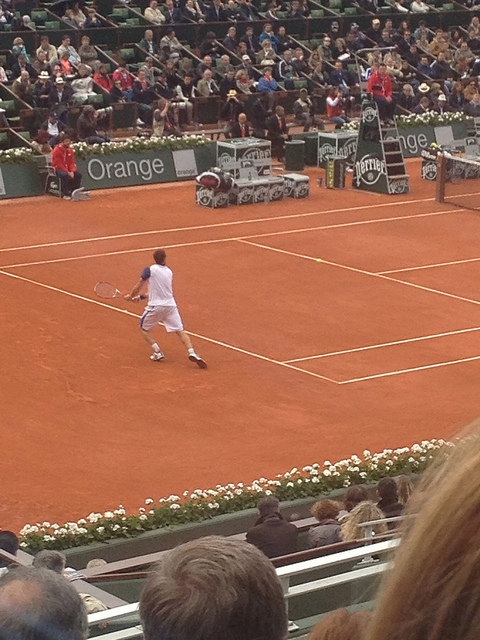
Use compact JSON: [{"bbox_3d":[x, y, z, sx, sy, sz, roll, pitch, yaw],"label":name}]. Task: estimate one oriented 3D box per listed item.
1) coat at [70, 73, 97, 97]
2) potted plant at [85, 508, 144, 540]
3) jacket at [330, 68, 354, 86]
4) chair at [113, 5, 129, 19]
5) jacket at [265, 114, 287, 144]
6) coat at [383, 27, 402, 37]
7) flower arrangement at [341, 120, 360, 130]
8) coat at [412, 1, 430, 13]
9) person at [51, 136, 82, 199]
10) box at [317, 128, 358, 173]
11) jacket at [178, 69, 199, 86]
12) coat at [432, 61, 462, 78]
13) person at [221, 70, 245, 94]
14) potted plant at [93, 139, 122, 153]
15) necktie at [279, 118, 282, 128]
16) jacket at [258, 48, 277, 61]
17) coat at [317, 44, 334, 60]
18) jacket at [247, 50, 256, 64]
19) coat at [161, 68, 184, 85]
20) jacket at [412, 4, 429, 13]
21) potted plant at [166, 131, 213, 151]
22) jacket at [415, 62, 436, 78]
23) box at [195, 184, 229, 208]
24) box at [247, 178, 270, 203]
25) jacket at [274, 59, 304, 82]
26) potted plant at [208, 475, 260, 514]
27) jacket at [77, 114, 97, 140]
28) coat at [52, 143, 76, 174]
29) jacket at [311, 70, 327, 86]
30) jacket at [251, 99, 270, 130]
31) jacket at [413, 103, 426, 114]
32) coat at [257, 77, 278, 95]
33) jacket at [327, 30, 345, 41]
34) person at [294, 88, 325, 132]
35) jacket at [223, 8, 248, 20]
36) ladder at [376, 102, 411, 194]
[{"bbox_3d":[-3.986,-5.924,32.503,0.598,0.288,0.688,-4,35,-7],"label":"coat"},{"bbox_3d":[-0.996,1.629,10.140,0.275,0.158,0.311,9,8,36],"label":"potted plant"},{"bbox_3d":[3.056,-7.237,38.050,0.387,0.508,1.359,-2,6,26],"label":"jacket"},{"bbox_3d":[-3.584,-9.448,38.809,0.494,0.408,0.452,2,42,-7],"label":"chair"},{"bbox_3d":[0.925,-4.896,32.691,0.495,0.737,0.531,-5,6,1],"label":"jacket"},{"bbox_3d":[5.165,-9.700,42.955,0.316,0.145,0.408,-12,43,-44],"label":"coat"},{"bbox_3d":[2.842,-4.958,32.538,0.390,0.258,0.440,0,8,0],"label":"flower arrangement"},{"bbox_3d":[6.550,-11.357,46.355,0.505,0.214,0.616,1,21,-7],"label":"coat"},{"bbox_3d":[-3.673,-3.220,27.167,0.580,1.266,1.258,-6,6,-6],"label":"person"},{"bbox_3d":[2.552,-4.351,31.760,0.962,1.177,0.816,-18,28,-28],"label":"box"},{"bbox_3d":[-1.340,-6.638,34.801,0.497,0.214,0.613,6,14,-37],"label":"jacket"},{"bbox_3d":[6.817,-8.129,41.414,0.539,0.532,1.455,-1,7,35],"label":"coat"},{"bbox_3d":[-0.273,-6.482,34.802,0.548,0.684,0.729,-9,19,-19],"label":"person"},{"bbox_3d":[-2.948,-3.873,28.557,0.570,0.276,0.513,-5,8,-4],"label":"potted plant"},{"bbox_3d":[1.060,-5.038,32.638,0.069,0.198,0.168,-5,6,0],"label":"necktie"},{"bbox_3d":[0.841,-7.934,38.101,0.529,0.227,0.654,2,-3,-2],"label":"jacket"},{"bbox_3d":[2.719,-8.373,39.785,0.621,0.496,0.344,-9,7,-36],"label":"coat"},{"bbox_3d":[0.395,-7.892,38.215,0.136,0.370,0.278,-18,23,21],"label":"jacket"},{"bbox_3d":[-1.800,-6.500,34.128,0.605,0.156,0.190,26,-27,-33],"label":"coat"},{"bbox_3d":[6.618,-11.384,46.464,0.304,0.301,0.943,-1,6,30],"label":"jacket"},{"bbox_3d":[-1.213,-4.244,30.277,0.812,0.352,1.010,-4,11,-9],"label":"potted plant"},{"bbox_3d":[5.984,-8.066,41.013,0.474,0.200,0.587,-7,39,-48],"label":"jacket"},{"bbox_3d":[-0.568,-2.616,26.998,0.586,0.382,0.571,-16,27,-38],"label":"box"},{"bbox_3d":[0.506,-2.840,27.937,0.553,0.479,0.510,-4,14,-22],"label":"box"},{"bbox_3d":[1.351,-7.355,37.485,0.643,0.631,0.746,-2,6,26],"label":"jacket"},{"bbox_3d":[-0.045,1.510,10.825,0.334,0.132,0.309,-9,16,-25],"label":"potted plant"},{"bbox_3d":[-3.574,-4.497,29.730,0.610,0.588,0.489,-5,24,2],"label":"jacket"},{"bbox_3d":[-3.708,-3.452,27.114,0.540,0.639,0.574,-18,30,-39],"label":"coat"},{"bbox_3d":[2.336,-7.177,37.830,0.502,0.325,0.462,5,28,-22],"label":"jacket"},{"bbox_3d":[0.518,-5.301,32.836,0.424,0.766,0.639,-5,6,-1],"label":"jacket"},{"bbox_3d":[5.094,-5.944,36.182,0.217,0.321,0.362,-32,46,-10],"label":"jacket"},{"bbox_3d":[0.829,-6.582,35.642,0.603,0.403,0.404,-9,7,-36],"label":"coat"},{"bbox_3d":[3.171,-9.320,41.964,0.405,0.443,1.840,-4,5,11],"label":"jacket"},{"bbox_3d":[1.853,-5.722,34.778,0.777,1.167,0.853,-6,6,-8],"label":"person"},{"bbox_3d":[-0.126,-9.601,39.996,0.550,0.202,0.178,23,-32,-33],"label":"jacket"},{"bbox_3d":[3.624,-4.031,29.920,0.633,2.098,2.684,-4,6,8],"label":"ladder"}]
